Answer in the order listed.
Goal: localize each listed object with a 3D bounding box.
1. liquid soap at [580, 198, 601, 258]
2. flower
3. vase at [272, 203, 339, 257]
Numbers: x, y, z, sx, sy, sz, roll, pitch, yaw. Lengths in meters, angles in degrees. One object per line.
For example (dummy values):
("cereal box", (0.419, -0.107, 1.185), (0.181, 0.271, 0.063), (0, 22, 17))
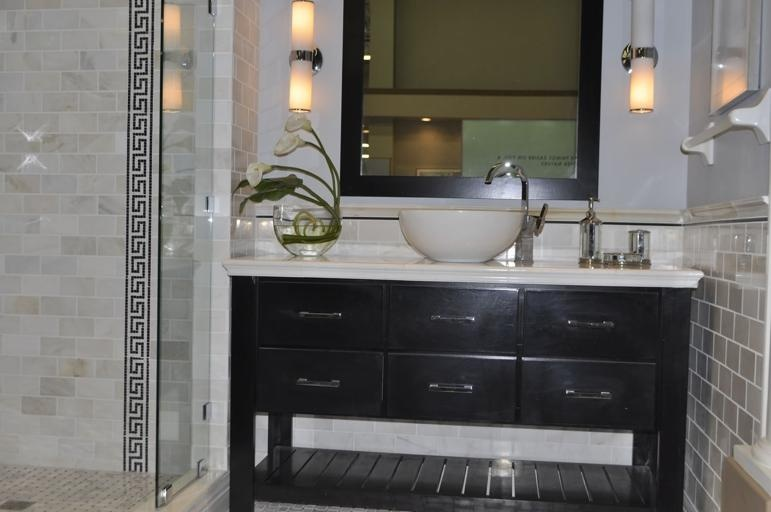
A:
("liquid soap", (0.931, -0.123, 3.335), (0.087, 0.279, 0.202), (1, 5, 16))
("flower", (-0.464, -0.361, 3.443), (0.456, 0.603, 0.334), (-5, 13, -7))
("vase", (-0.353, -0.120, 3.501), (0.391, 0.276, 0.385), (0, 8, -6))
